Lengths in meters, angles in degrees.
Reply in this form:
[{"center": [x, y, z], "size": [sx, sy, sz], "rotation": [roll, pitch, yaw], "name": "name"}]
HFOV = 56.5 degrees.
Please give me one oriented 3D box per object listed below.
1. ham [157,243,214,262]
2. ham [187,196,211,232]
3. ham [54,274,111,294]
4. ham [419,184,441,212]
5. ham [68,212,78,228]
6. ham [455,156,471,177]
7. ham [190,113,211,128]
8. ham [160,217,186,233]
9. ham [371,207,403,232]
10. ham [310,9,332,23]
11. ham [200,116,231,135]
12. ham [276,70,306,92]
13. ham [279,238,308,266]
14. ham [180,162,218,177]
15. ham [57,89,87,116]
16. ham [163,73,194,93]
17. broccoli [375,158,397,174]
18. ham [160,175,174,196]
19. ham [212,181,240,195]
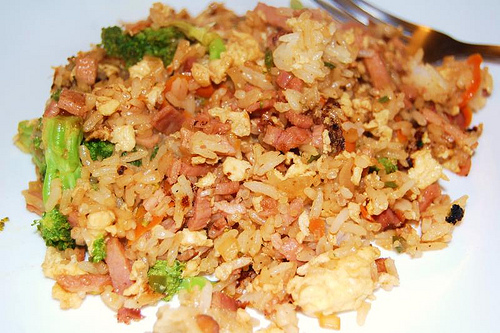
[{"center": [-0.793, 1.033, 5.706], "size": [0.663, 0.189, 0.234], "rotation": [8, -47, -3], "name": "ham"}, {"center": [-0.605, 0.578, 5.682], "size": [0.238, 0.320, 0.327], "rotation": [14, -48, -8], "name": "ham"}, {"center": [-2.017, 1.388, 5.644], "size": [0.498, 0.422, 0.241], "rotation": [-14, -76, -34], "name": "ham"}, {"center": [2.359, 0.381, 6.101], "size": [0.208, 0.091, 0.372], "rotation": [23, -66, -46], "name": "ham"}, {"center": [-2.183, 0.651, 5.748], "size": [0.151, 0.037, 0.153], "rotation": [2, -79, 24], "name": "ham"}, {"center": [2.926, -0.011, 6.367], "size": [0.246, 0.206, 0.183], "rotation": [-23, -53, 24], "name": "ham"}, {"center": [-0.621, -0.569, 5.802], "size": [0.180, 0.195, 0.071], "rotation": [-15, -47, -19], "name": "ham"}, {"center": [-0.945, 0.718, 5.739], "size": [0.299, 0.147, 0.138], "rotation": [0, -47, 4], "name": "ham"}, {"center": [1.761, 0.661, 5.953], "size": [0.367, 0.183, 0.323], "rotation": [-11, -49, 15], "name": "ham"}, {"center": [0.947, -2.098, 6.436], "size": [0.281, 0.333, 0.064], "rotation": [-13, -56, -20], "name": "ham"}, {"center": [-0.415, -0.516, 5.815], "size": [0.367, 0.219, 0.140], "rotation": [10, -47, -4], "name": "ham"}, {"center": [0.527, -1.085, 5.894], "size": [0.361, 0.222, 0.164], "rotation": [11, -47, -5], "name": "ham"}, {"center": [0.535, 1.054, 5.681], "size": [0.301, 0.087, 0.302], "rotation": [-41, -92, -9], "name": "ham"}, {"center": [-0.645, 0.035, 5.772], "size": [0.240, 0.063, 0.243], "rotation": [11, -55, -28], "name": "ham"}, {"center": [-2.214, -0.817, 5.803], "size": [0.323, 0.317, 0.216], "rotation": [19, -48, -13], "name": "ham"}, {"center": [-0.913, -1.077, 5.900], "size": [0.364, 0.281, 0.114], "rotation": [-6, -47, 10], "name": "ham"}, {"center": [1.775, -0.024, 6.074], "size": [0.237, 0.188, 0.060], "rotation": [36, -24, 1], "name": "broccoli"}, {"center": [-1.029, 0.234, 5.783], "size": [0.168, 0.056, 0.238], "rotation": [3, -81, 39], "name": "ham"}, {"center": [-0.285, 0.260, 5.754], "size": [0.316, 0.153, 0.114], "rotation": [6, -47, -1], "name": "ham"}]
